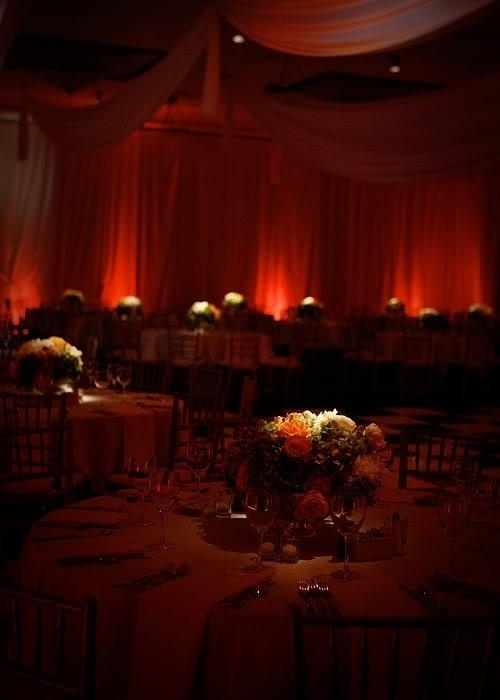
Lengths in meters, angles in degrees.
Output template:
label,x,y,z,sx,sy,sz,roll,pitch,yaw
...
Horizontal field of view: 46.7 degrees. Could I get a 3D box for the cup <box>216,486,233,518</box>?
label,x,y,z,sx,sy,sz,roll,pitch,yaw
cup,-0.063,0.367,1.433,0.032,0.070,0.039,3,-4,-13

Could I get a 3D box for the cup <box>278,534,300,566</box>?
label,x,y,z,sx,sy,sz,roll,pitch,yaw
cup,0.079,0.391,1.163,0.025,0.038,0.028,3,5,30

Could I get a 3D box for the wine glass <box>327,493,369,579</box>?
label,x,y,z,sx,sy,sz,roll,pitch,yaw
wine glass,0.183,0.327,1.081,0.057,0.164,0.064,1,5,2

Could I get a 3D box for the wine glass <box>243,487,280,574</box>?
label,x,y,z,sx,sy,sz,roll,pitch,yaw
wine glass,0.021,0.317,1.099,0.052,0.174,0.059,-2,20,-6
